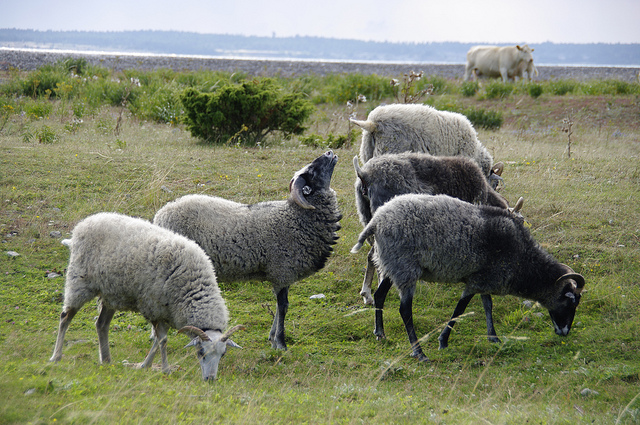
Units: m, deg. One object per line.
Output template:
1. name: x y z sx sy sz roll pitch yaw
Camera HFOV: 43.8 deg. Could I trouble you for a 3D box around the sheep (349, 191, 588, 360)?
1. sheep: 3.234 1.467 17.447 4.999 3.518 1.501 4 9 2
